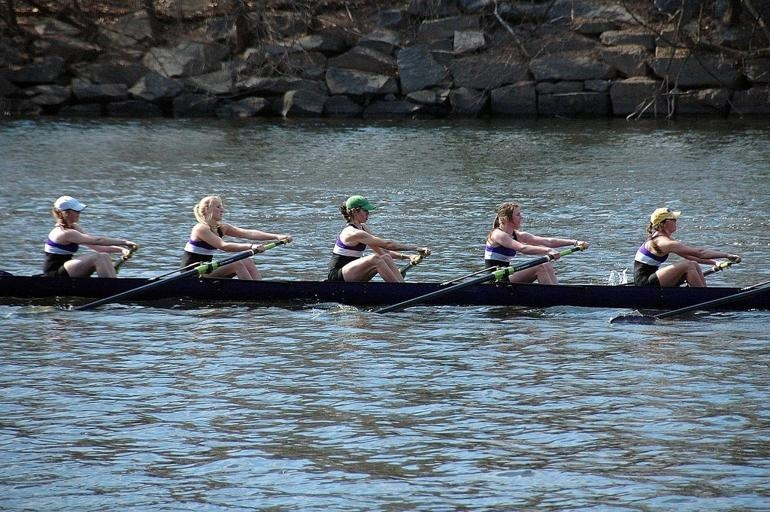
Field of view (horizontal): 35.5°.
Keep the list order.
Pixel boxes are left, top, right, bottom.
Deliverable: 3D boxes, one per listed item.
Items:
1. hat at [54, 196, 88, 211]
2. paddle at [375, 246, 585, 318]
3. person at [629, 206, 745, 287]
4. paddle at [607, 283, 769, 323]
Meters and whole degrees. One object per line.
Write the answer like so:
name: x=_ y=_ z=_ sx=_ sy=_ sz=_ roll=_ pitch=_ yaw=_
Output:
hat: x=-5.477 y=-0.876 z=20.575 sx=0.828 sy=0.227 sz=0.384 roll=1 pitch=10 yaw=0
paddle: x=1.657 y=0.391 z=20.483 sx=4.225 sy=0.323 sz=0.297 roll=-17 pitch=51 yaw=-25
person: x=4.956 y=-0.133 z=20.240 sx=1.346 sy=1.311 sz=0.786 roll=4 pitch=9 yaw=3
paddle: x=5.098 y=0.803 z=20.051 sx=2.355 sy=0.285 sz=0.148 roll=-11 pitch=48 yaw=11
